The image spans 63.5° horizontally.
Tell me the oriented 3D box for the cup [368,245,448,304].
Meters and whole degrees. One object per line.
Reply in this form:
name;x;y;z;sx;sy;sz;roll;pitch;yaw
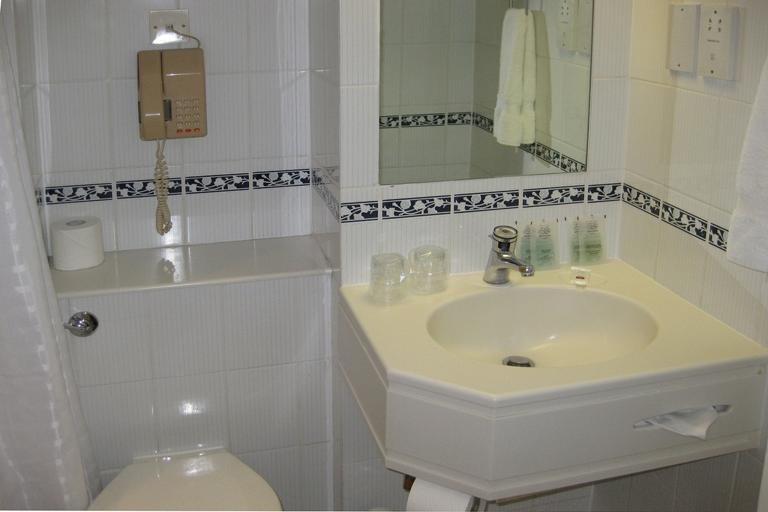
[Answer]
cup;0.075;0.050;1.971;0.227;0.182;0.198;-1;22;-8

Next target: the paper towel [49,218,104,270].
paper towel;-1.073;-0.044;2.175;0.167;0.173;0.102;-4;11;-11

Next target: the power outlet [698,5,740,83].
power outlet;0.903;-0.580;1.683;0.017;0.207;0.118;-7;12;-23
